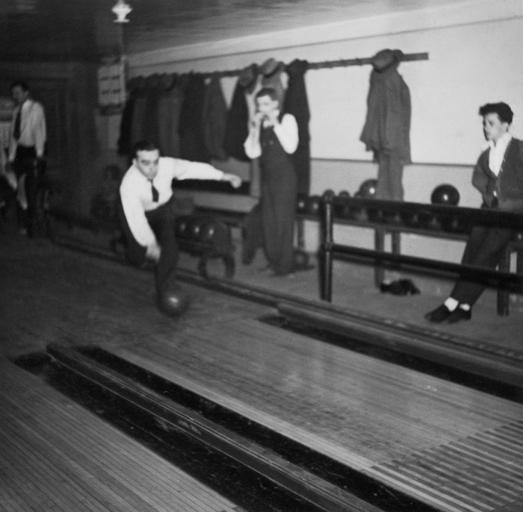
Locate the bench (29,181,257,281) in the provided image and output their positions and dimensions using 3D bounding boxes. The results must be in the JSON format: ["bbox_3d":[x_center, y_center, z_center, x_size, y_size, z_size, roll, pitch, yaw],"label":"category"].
[{"bbox_3d":[-0.434,-0.077,1.789,1.090,0.308,0.050,0,9,42],"label":"bench"}]
